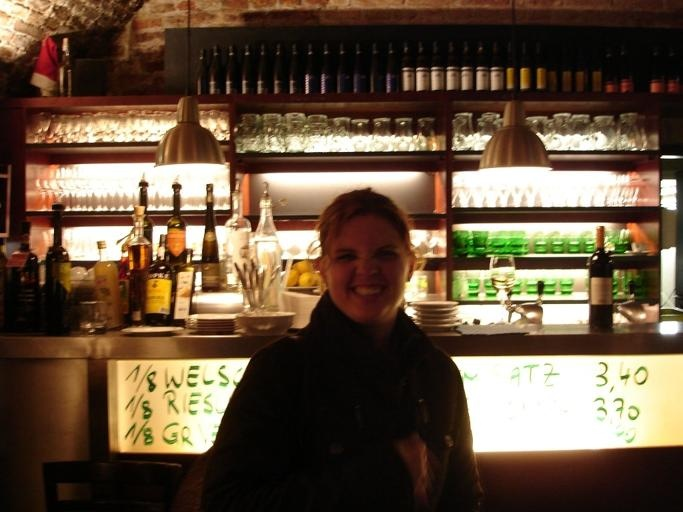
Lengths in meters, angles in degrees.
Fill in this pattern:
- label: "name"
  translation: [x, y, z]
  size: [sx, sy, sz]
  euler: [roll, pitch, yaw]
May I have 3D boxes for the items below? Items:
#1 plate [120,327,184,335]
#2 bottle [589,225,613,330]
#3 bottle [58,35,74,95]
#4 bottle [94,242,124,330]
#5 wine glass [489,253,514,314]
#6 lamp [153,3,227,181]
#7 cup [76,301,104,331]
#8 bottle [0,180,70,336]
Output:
- label: "plate"
  translation: [-0.910, 0.357, 3.825]
  size: [0.304, 0.043, 0.145]
  euler: [1, 0, 1]
- label: "bottle"
  translation: [1.272, 0.104, 3.903]
  size: [0.115, 0.383, 0.100]
  euler: [2, -1, 16]
- label: "bottle"
  translation: [-2.104, -1.445, 6.084]
  size: [0.091, 0.460, 0.240]
  euler: [2, 0, -20]
- label: "bottle"
  translation: [-1.148, 0.142, 3.921]
  size: [0.139, 0.435, 0.202]
  euler: [2, 0, -16]
- label: "wine glass"
  translation: [0.846, 0.154, 4.185]
  size: [0.122, 0.252, 0.361]
  euler: [2, 0, 11]
- label: "lamp"
  translation: [-0.985, -1.269, 5.437]
  size: [0.447, 1.132, 1.819]
  euler: [2, 0, -10]
- label: "cup"
  translation: [-1.204, 0.305, 3.853]
  size: [0.148, 0.143, 0.144]
  euler: [-3, -7, 0]
- label: "bottle"
  translation: [-1.472, 0.056, 3.923]
  size: [0.330, 0.648, 0.215]
  euler: [2, 0, 2]
